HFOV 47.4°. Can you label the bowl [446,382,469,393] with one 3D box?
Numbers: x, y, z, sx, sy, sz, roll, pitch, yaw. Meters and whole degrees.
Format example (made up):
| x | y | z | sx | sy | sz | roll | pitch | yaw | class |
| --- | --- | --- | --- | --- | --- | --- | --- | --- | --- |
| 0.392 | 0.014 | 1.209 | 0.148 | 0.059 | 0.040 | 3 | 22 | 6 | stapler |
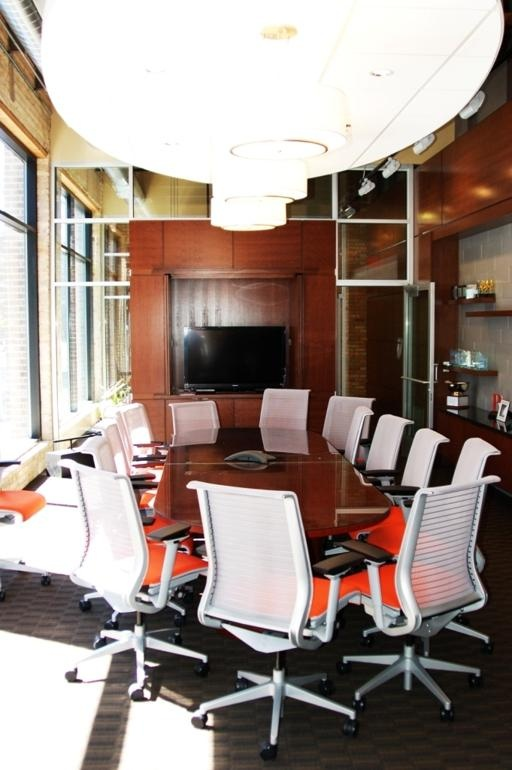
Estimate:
| x | y | z | sx | sy | sz | roll | pitch | yaw | class |
| --- | --- | --- | --- | --- | --- | --- | --- | --- | --- |
| 2.428 | 0.046 | 6.966 | 0.169 | 0.101 | 0.134 | 3 | -2 | -41 | bowl |
